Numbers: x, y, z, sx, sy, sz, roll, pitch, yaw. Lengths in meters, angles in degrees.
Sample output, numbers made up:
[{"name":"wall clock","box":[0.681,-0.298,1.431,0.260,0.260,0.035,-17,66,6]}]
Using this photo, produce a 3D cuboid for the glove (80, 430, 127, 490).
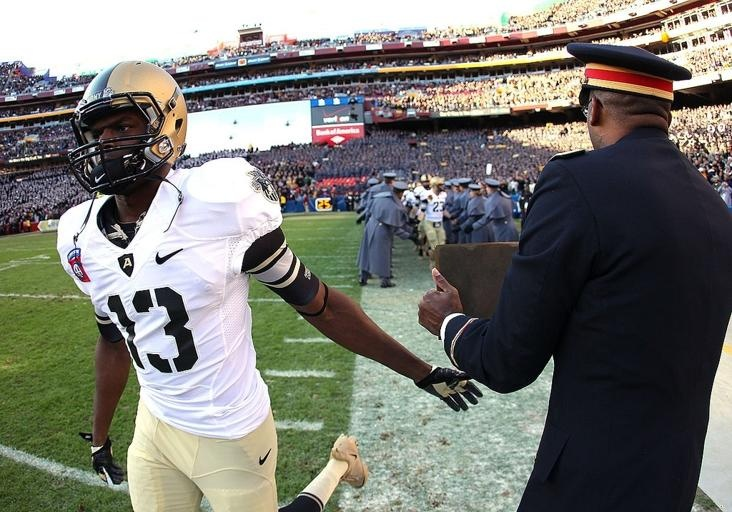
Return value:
[{"name":"glove","box":[-1.274,0.994,2.784,0.122,0.382,0.172,3,55,5]}]

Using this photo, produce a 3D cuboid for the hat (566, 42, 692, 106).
[{"name":"hat","box":[1.004,-0.710,2.247,0.298,0.188,0.330,4,17,31]}]

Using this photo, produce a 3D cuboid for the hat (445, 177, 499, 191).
[{"name":"hat","box":[2.065,-1.442,11.509,0.675,0.213,0.748,-3,8,-34]}]

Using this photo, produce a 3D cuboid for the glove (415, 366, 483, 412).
[{"name":"glove","box":[0.292,0.568,2.559,0.135,0.270,0.072,-9,55,-19]}]
